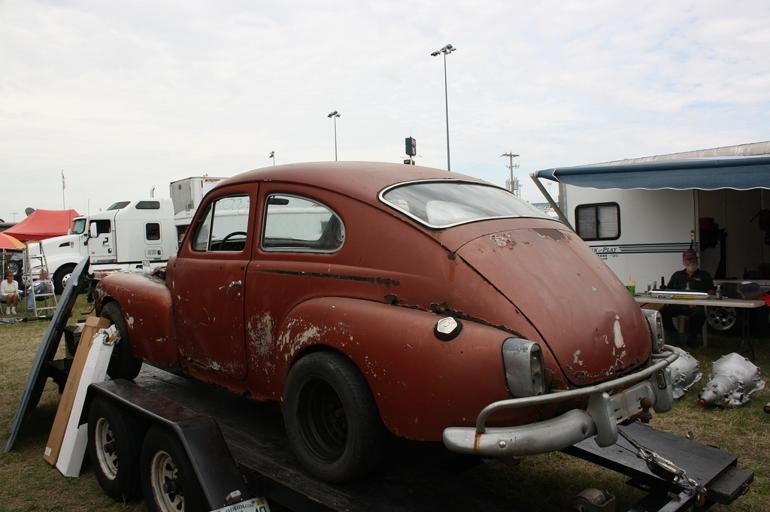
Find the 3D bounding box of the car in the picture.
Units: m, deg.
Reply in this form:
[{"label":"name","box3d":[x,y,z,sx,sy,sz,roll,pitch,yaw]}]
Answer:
[{"label":"car","box3d":[-0.082,0.438,4.547,4.389,2.523,1.445,6,4,32]}]
